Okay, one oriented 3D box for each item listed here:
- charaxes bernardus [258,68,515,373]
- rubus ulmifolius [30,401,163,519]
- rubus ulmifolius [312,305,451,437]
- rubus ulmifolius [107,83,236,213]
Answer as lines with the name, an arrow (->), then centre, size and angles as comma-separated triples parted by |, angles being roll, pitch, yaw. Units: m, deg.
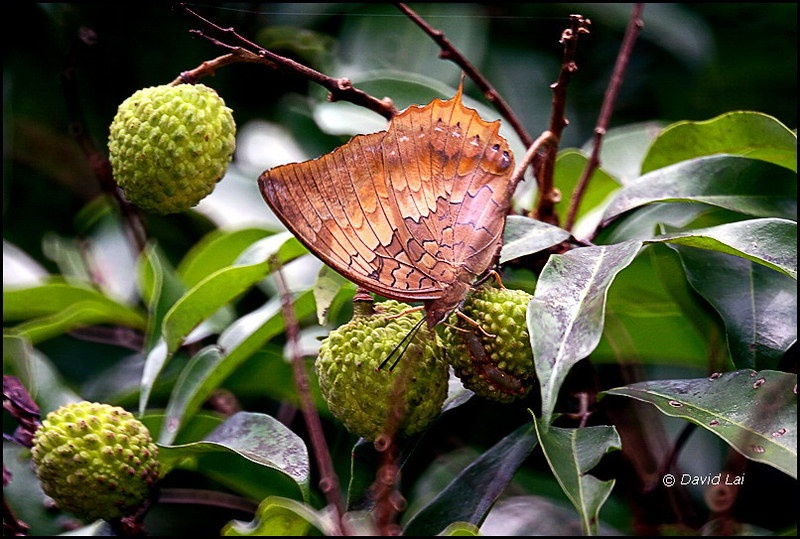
charaxes bernardus -> 0.067, -0.074, 1.835 | 0.446, 0.525, 0.395 | 7, 64, 42
rubus ulmifolius -> -0.657, 0.437, 1.833 | 0.263, 0.206, 0.231 | -3, 72, 12
rubus ulmifolius -> -0.056, 0.250, 1.827 | 0.320, 0.299, 0.345 | -6, 75, -4
rubus ulmifolius -> -0.490, -0.275, 1.833 | 0.237, 0.255, 0.233 | -36, 54, -19
